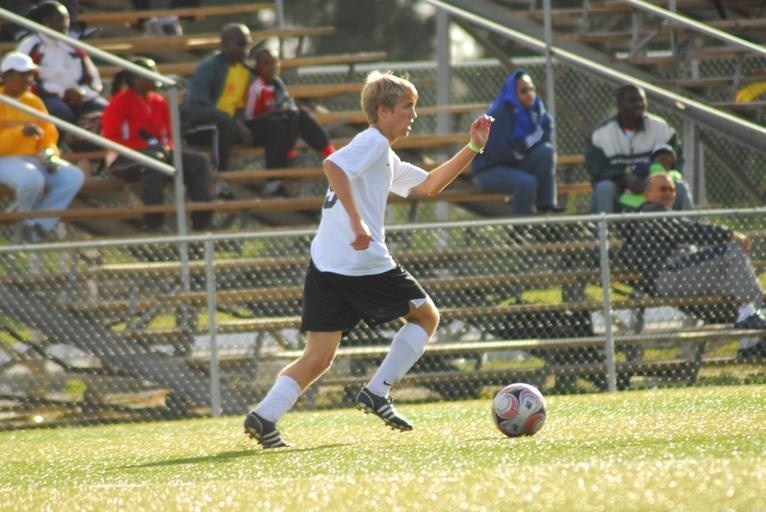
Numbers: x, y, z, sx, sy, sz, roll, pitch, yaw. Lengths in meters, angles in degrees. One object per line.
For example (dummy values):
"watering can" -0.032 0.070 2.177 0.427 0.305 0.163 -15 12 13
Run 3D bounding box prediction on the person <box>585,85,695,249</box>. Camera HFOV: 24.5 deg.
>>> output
"person" 2.800 -1.029 17.633 1.194 1.855 1.160 -1 -1 -16

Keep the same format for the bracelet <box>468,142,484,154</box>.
"bracelet" 0.775 -0.884 14.755 0.115 0.046 0.118 42 -1 -3

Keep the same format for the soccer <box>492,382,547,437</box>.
"soccer" 1.116 1.274 14.364 0.363 0.353 0.364 -12 21 -33

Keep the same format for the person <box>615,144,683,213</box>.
"person" 2.549 -0.653 16.978 0.531 0.855 0.343 16 -6 3
